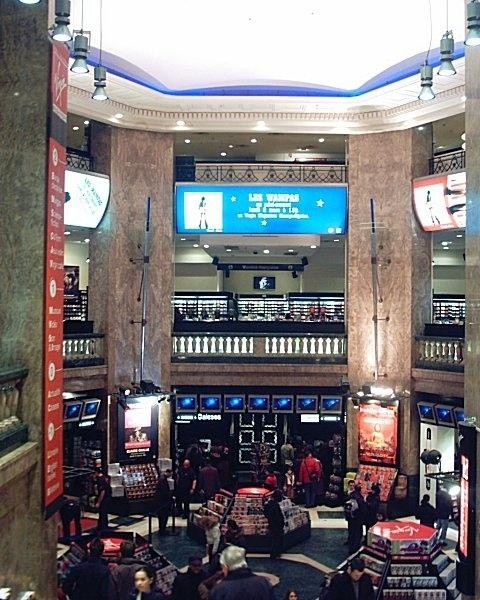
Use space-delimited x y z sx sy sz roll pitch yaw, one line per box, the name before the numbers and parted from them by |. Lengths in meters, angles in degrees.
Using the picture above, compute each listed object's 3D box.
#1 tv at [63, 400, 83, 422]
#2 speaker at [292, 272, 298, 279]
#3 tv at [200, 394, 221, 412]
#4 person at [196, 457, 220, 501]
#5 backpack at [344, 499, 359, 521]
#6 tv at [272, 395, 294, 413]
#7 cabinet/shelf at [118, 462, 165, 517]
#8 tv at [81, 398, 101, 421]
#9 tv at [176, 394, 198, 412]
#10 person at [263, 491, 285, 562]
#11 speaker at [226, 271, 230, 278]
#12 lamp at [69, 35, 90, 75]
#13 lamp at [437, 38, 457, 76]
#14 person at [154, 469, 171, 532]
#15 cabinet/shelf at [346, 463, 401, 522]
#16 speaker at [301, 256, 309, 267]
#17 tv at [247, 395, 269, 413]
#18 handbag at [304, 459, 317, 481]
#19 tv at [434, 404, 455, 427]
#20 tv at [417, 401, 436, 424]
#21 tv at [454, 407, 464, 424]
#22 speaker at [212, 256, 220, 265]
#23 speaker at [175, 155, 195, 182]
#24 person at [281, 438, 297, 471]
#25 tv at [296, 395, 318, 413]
tv | -3.094 2.052 10.559 0.259 0.393 0.647 -1 -5 13
speaker | 1.901 -0.865 20.050 0.186 0.241 0.235 -2 -5 14
tv | -0.629 2.131 11.992 0.500 0.559 0.292 0 -2 -5
person | -0.539 3.320 10.330 0.328 1.017 0.285 -3 16 1
backpack | 1.707 3.266 8.946 0.169 0.350 0.291 1 -5 -15
tv | 0.883 2.131 11.924 0.275 0.308 0.110 1 -2 0
cabinet/shelf | -1.912 3.470 10.697 0.816 0.942 0.448 9 -1 -41
tv | -2.855 2.060 10.937 0.108 0.363 0.332 12 -6 30
tv | -1.125 2.128 11.911 0.492 0.535 0.303 0 -5 -6
person | 0.501 3.325 8.583 0.327 0.961 0.294 0 -4 -11
speaker | -0.467 -0.912 20.617 0.168 0.218 0.153 0 -4 -2
lamp | -1.614 -2.523 5.820 0.156 0.430 0.170 0 -4 -14
lamp | 2.004 -2.415 5.640 0.137 0.382 0.143 -4 0 -36
person | -1.275 3.390 9.674 0.248 0.941 0.595 0 -4 -8
cabinet/shelf | 2.596 3.525 11.264 0.906 0.884 0.964 -1 -30 6
speaker | 2.201 -1.290 19.664 0.223 0.322 0.253 2 -2 14
tv | 0.378 2.137 11.955 0.278 0.314 0.110 1 -1 -1
handbag | 1.379 3.273 11.076 0.315 0.418 0.099 3 -5 -36
tv | 3.707 2.086 10.448 0.104 0.358 0.339 -2 0 -30
tv | 3.527 2.112 10.890 0.168 0.379 0.351 -6 -3 -29
tv | 3.835 2.030 10.079 0.115 0.261 0.284 0 -5 1
speaker | -0.846 -1.348 19.666 0.195 0.461 0.223 4 -3 10
speaker | -1.156 -2.750 12.172 0.406 0.755 0.476 1 7 2
person | 1.013 3.300 12.121 0.312 0.555 1.060 -1 -5 4
tv | 1.377 2.128 11.881 0.283 0.320 0.046 0 7 3
